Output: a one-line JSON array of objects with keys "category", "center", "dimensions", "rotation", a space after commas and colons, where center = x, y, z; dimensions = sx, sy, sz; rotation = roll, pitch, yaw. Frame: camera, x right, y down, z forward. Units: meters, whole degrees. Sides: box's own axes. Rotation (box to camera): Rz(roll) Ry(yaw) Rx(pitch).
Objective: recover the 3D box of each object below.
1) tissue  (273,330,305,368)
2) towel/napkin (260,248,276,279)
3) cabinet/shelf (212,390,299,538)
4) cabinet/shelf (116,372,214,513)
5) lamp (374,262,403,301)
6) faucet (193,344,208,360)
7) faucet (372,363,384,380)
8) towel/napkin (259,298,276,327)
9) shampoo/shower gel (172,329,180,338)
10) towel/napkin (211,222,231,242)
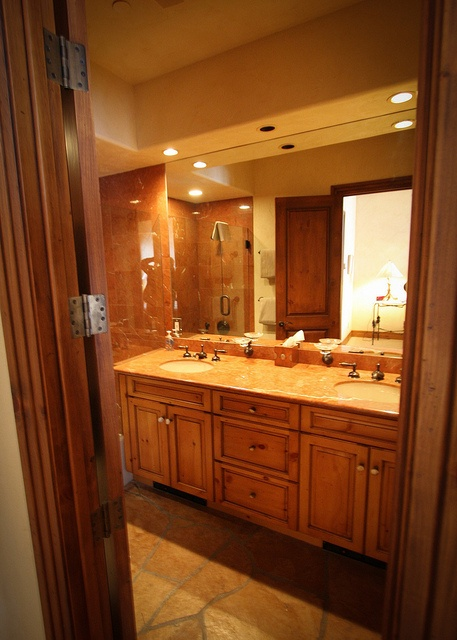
[{"category": "tissue ", "center": [0.317, 0.160, 2.477], "dimensions": [0.116, 0.225, 0.208], "rotation": [1, 3, 25]}, {"category": "towel/napkin", "center": [0.215, -0.308, 2.557], "dimensions": [0.038, 0.137, 0.117], "rotation": [-7, 8, -44]}, {"category": "cabinet/shelf", "center": [0.194, 0.609, 2.283], "dimensions": [0.429, 0.668, 0.420], "rotation": [6, 18, 25]}, {"category": "cabinet/shelf", "center": [-0.256, 0.583, 2.523], "dimensions": [0.634, 0.696, 0.338], "rotation": [4, 11, 31]}, {"category": "lamp", "center": [0.716, -0.171, 2.087], "dimensions": [0.040, 0.180, 0.120], "rotation": [-7, 11, -31]}, {"category": "faucet", "center": [-0.160, 0.199, 2.819], "dimensions": [0.048, 0.087, 0.086], "rotation": [0, -1, 18]}, {"category": "faucet", "center": [0.691, 0.241, 2.167], "dimensions": [0.059, 0.066, 0.077], "rotation": [6, 12, 41]}, {"category": "towel/napkin", "center": [0.221, -0.046, 2.598], "dimensions": [0.046, 0.137, 0.124], "rotation": [-7, 8, -44]}, {"category": "shampoo/shower gel", "center": [-0.334, 0.085, 2.990], "dimensions": [0.040, 0.044, 0.011], "rotation": [-4, 16, -5]}, {"category": "towel/napkin", "center": [-0.040, -0.524, 2.754], "dimensions": [0.090, 0.096, 0.052], "rotation": [20, 34, 39]}]
